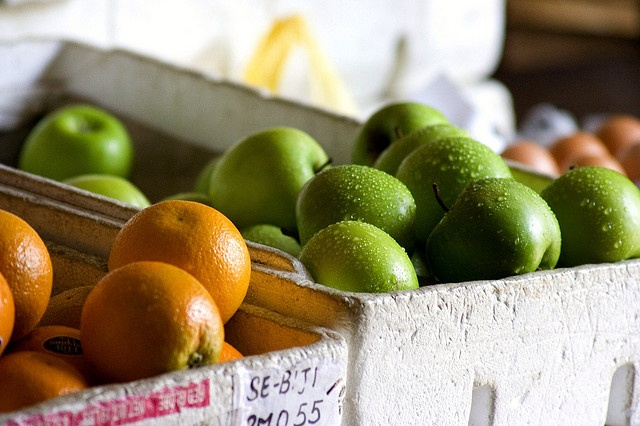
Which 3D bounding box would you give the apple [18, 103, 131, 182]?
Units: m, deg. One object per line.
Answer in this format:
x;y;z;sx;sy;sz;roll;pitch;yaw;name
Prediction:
-0.457;-0.126;1.225;0.148;0.170;0.170;1;39;-12;apple

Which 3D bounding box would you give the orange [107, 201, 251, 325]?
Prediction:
-0.150;0.040;0.713;0.124;0.135;0.133;2;62;-4;orange

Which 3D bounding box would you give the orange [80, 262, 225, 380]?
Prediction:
-0.175;0.100;0.705;0.132;0.130;0.114;17;12;-9;orange
